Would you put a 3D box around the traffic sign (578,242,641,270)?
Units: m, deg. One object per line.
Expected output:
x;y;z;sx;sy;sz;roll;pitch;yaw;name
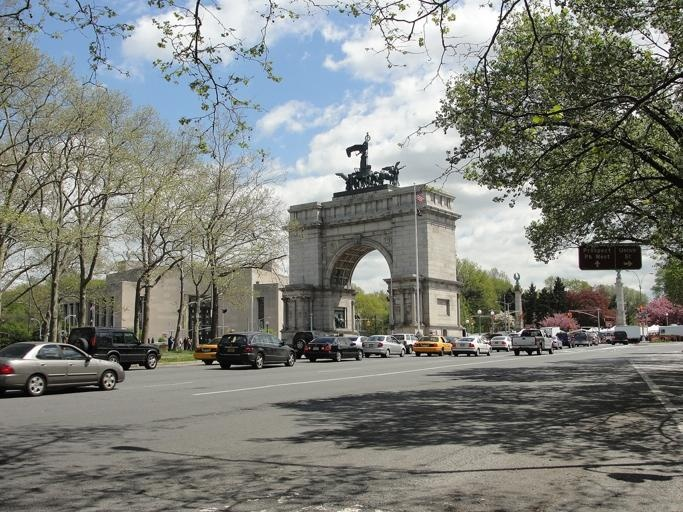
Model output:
11.742;0.043;34.369;2.519;1.273;0.828;-2;-13;-2;traffic sign

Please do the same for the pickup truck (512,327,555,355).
13.300;5.931;54.256;1.638;1.302;3.603;-3;-5;35;pickup truck

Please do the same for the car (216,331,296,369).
-3.782;4.519;36.723;2.158;1.712;3.898;-12;-16;39;car

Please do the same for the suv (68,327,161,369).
-10.000;4.358;35.807;3.625;2.128;5.039;1;-3;19;suv
